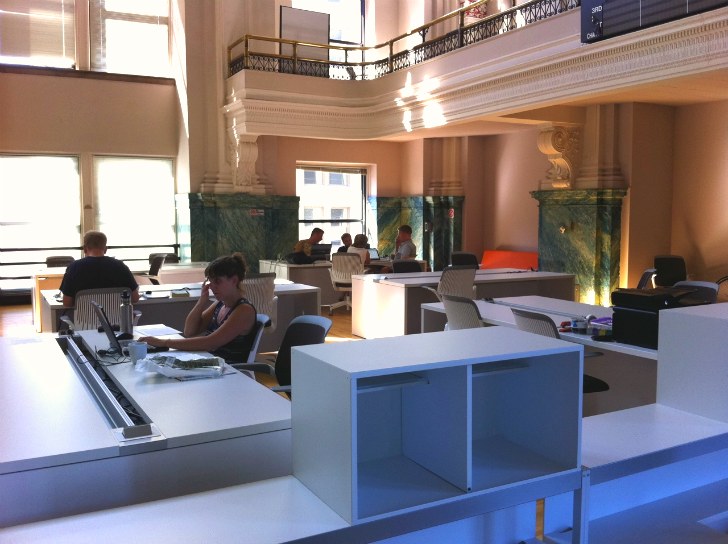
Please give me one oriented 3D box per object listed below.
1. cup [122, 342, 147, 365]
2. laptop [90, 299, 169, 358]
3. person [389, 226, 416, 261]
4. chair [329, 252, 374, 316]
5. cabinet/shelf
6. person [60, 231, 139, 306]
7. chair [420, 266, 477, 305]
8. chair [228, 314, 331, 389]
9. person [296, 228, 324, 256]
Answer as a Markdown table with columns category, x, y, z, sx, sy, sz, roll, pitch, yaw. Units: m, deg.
| category | x | y | z | sx | sy | sz | roll | pitch | yaw |
| --- | --- | --- | --- | --- | --- | --- | --- | --- | --- |
| cup | -1.352 | 0.465 | 3.531 | 0.086 | 0.120 | 0.134 | 0 | -4 | -3 |
| laptop | -1.516 | 0.400 | 3.846 | 0.359 | 0.334 | 0.426 | 0 | 3 | -28 |
| person | 0.683 | -0.503 | 10.550 | 0.426 | 0.670 | 0.725 | 5 | 9 | 25 |
| chair | -0.268 | 0.154 | 9.807 | 0.609 | 0.940 | 0.656 | 1 | 0 | 30 |
| cabinet/shelf | 0.289 | 0.541 | 2.349 | 1.095 | 0.526 | 0.504 | -2 | 10 | -20 |
| person | -2.639 | -0.023 | 5.954 | 0.727 | 0.767 | 0.419 | -3 | 8 | -29 |
| chair | 1.007 | 0.103 | 7.103 | 0.462 | 0.655 | 0.441 | -4 | 12 | -21 |
| chair | -0.536 | 0.486 | 4.119 | 0.545 | 0.763 | 0.480 | 1 | 1 | -39 |
| person | -0.980 | -0.528 | 10.412 | 0.360 | 0.446 | 0.741 | 7 | 11 | 34 |
